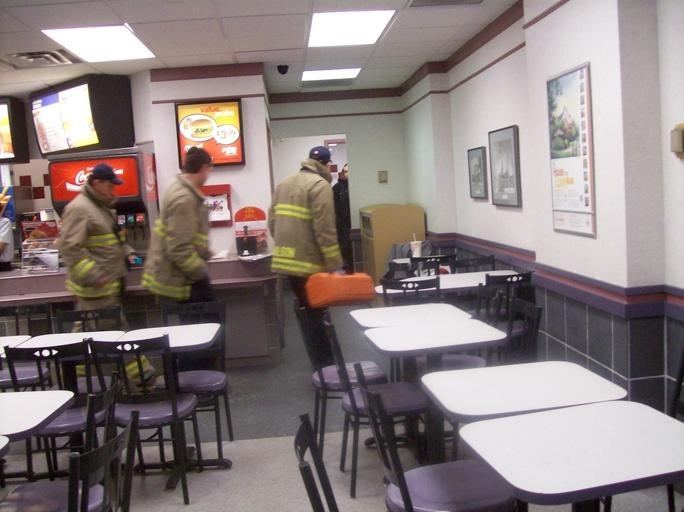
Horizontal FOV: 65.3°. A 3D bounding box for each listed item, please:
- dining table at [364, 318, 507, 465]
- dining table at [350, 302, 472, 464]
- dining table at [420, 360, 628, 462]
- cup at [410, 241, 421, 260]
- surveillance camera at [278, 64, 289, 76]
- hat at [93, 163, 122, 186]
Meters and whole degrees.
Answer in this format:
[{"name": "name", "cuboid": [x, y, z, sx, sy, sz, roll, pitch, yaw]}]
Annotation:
[{"name": "dining table", "cuboid": [0.506, 0.755, 3.333, 0.796, 0.785, 0.802, -5, 9, -16]}, {"name": "dining table", "cuboid": [0.384, 0.744, 3.936, 0.959, 0.939, 0.971, -4, 9, -12]}, {"name": "dining table", "cuboid": [0.822, 0.623, 2.502, 0.734, 0.505, 0.441, -6, 10, -17]}, {"name": "cup", "cuboid": [0.848, -0.076, 6.208, 0.174, 0.268, 0.180, -1, 2, 0]}, {"name": "surveillance camera", "cuboid": [-0.725, -2.287, 6.556, 0.109, 0.083, 0.096, -4, 10, -8]}, {"name": "hat", "cuboid": [-1.924, -0.663, 4.399, 0.235, 0.130, 0.146, 6, 20, -35]}]
